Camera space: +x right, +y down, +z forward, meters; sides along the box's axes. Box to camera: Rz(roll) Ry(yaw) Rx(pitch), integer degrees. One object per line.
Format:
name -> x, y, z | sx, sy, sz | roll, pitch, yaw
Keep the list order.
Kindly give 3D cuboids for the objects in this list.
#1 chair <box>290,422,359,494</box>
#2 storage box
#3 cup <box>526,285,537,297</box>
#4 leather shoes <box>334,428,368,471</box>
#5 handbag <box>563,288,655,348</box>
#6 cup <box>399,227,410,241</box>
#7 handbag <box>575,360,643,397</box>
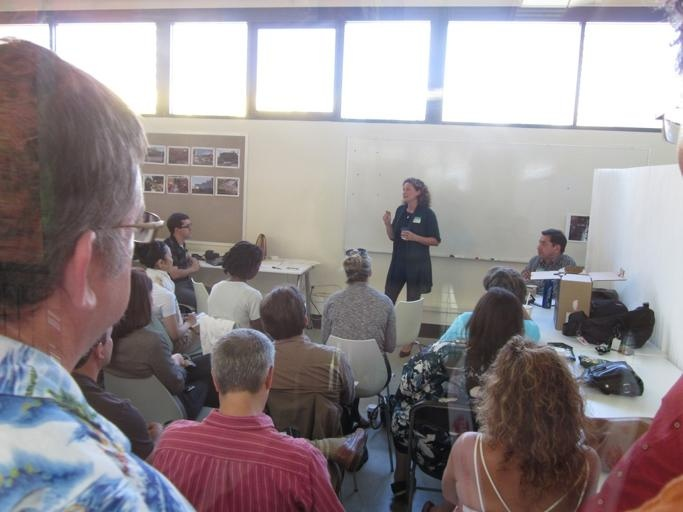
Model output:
chair -> -0.032, 0.664, 1.779 | 0.118, 0.188, 0.376 | 0, 7, 8
storage box -> 1.088, 0.158, 2.445 | 0.272, 0.210, 0.295 | 2, 8, 19
cup -> 1.043, 0.192, 2.889 | 0.060, 0.057, 0.059 | 0, 9, 0
leather shoes -> 0.034, 0.652, 1.778 | 0.067, 0.085, 0.206 | 0, 5, 10
handbag -> 1.064, 0.255, 2.127 | 0.221, 0.105, 0.177 | -1, 8, -6
cup -> 0.522, -0.181, 4.327 | 0.069, 0.083, 0.081 | -1, 2, -1
handbag -> 0.885, 0.398, 1.720 | 0.196, 0.091, 0.156 | 2, 10, -1
